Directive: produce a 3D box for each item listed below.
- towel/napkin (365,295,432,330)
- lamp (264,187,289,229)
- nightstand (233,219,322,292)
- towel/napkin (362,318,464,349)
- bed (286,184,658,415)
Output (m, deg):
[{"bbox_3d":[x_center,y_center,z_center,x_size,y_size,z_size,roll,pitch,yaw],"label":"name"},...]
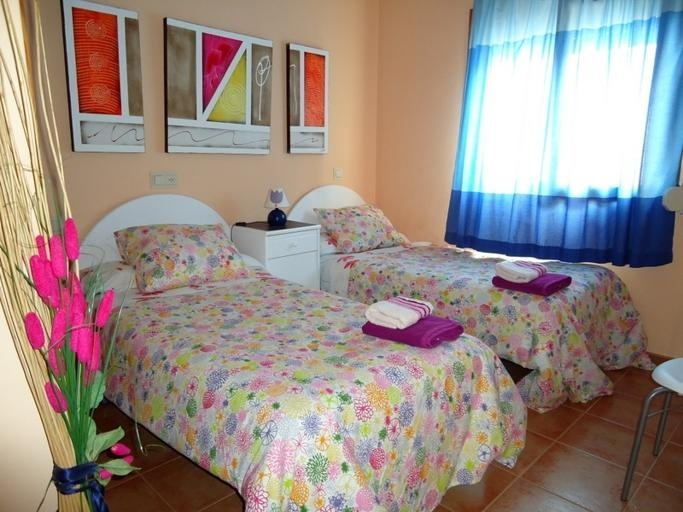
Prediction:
[{"bbox_3d":[0.258,0.280,2.330,0.190,0.065,0.194,6,14,43],"label":"towel/napkin"},{"bbox_3d":[-0.572,-0.419,4.050,0.183,0.352,0.169,3,15,-1],"label":"lamp"},{"bbox_3d":[-0.547,0.107,4.090,0.666,0.810,0.642,-4,15,-13],"label":"nightstand"},{"bbox_3d":[0.406,0.368,2.262,0.220,0.063,0.221,3,5,44],"label":"towel/napkin"},{"bbox_3d":[1.005,0.103,3.559,1.968,0.967,1.199,13,20,42],"label":"bed"}]
